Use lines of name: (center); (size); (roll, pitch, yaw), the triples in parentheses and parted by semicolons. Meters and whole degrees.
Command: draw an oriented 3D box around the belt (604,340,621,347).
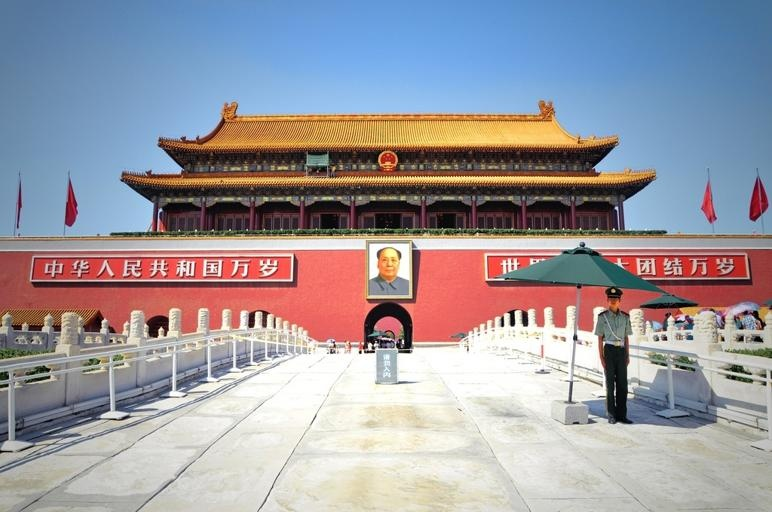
belt: (3.934, 1.505, 9.072); (0.276, 0.085, 0.041); (0, 0, 19)

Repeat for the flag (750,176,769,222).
flag: (19.348, -2.948, 27.230); (0.691, 1.509, 1.637); (-1, 0, 35)

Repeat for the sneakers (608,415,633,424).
sneakers: (4.011, 2.815, 9.027); (0.447, 0.175, 0.146); (-4, -5, 7)

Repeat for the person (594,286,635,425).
person: (4.002, 1.708, 9.157); (0.557, 2.316, 0.529); (0, 0, -30)

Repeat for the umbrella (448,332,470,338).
umbrella: (3.642, 4.009, 26.183); (0.856, 0.323, 0.319); (0, 0, 21)
